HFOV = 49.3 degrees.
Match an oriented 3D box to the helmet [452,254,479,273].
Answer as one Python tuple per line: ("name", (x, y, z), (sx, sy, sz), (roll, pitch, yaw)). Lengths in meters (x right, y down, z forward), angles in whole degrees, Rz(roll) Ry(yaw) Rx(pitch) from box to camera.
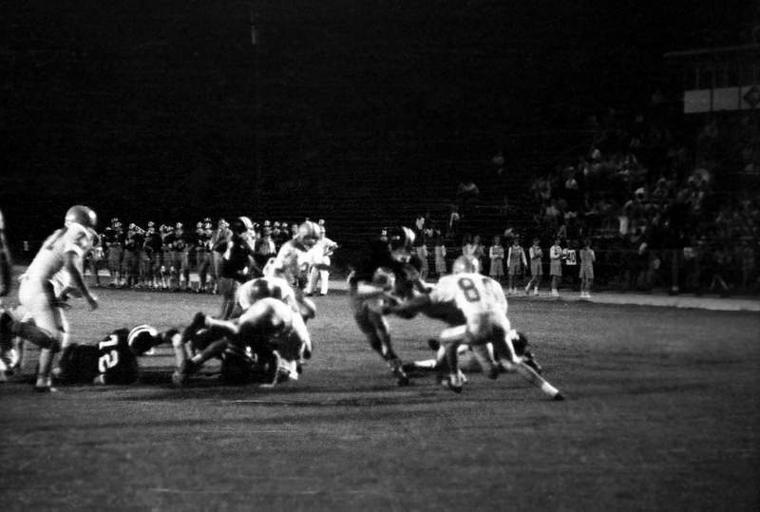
("helmet", (1.234, 0.125, 11.820), (0.356, 0.252, 0.335), (1, 7, 2))

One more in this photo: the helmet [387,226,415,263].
("helmet", (0.329, -0.169, 12.443), (0.396, 0.498, 0.388), (0, 7, -6))

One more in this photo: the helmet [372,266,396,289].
("helmet", (0.059, 0.341, 12.116), (0.338, 0.322, 0.214), (1, 7, 0))

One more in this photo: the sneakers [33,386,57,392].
("sneakers", (-4.566, 1.808, 11.305), (0.311, 0.117, 0.101), (1, 11, -8))

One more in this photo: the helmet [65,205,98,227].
("helmet", (-4.254, -0.548, 11.745), (0.397, 0.307, 0.513), (-1, 7, -20))

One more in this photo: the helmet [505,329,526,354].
("helmet", (2.057, 1.287, 12.282), (0.230, 0.350, 0.559), (4, 7, 21))

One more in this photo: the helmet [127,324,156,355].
("helmet", (-3.475, 1.210, 11.960), (0.364, 0.423, 0.405), (7, -7, -26))

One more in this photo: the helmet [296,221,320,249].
("helmet", (-1.156, -0.330, 13.204), (0.370, 0.446, 0.387), (1, 7, -5))
